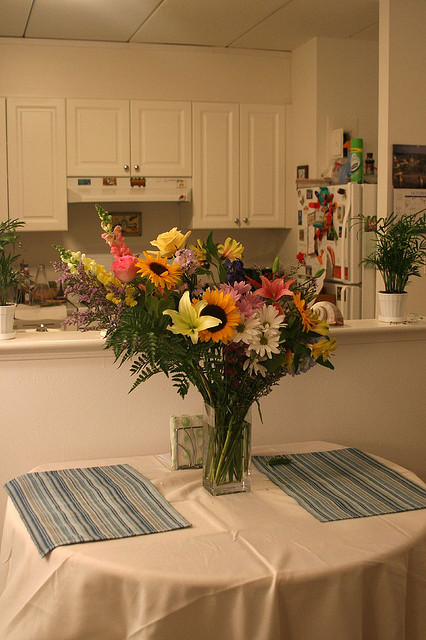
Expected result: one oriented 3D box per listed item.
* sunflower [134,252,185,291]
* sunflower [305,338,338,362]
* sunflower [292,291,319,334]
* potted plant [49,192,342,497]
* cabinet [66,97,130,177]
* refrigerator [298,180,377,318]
[{"bbox_3d":[-0.098,-0.091,0.924,0.102,0.061,0.071,-5,14,-28],"label":"sunflower"},{"bbox_3d":[0.221,0.062,1.056,0.053,0.040,0.058,-22,24,-11],"label":"sunflower"},{"bbox_3d":[0.166,-0.019,0.985,0.026,0.065,0.067,-30,52,0],"label":"sunflower"},{"bbox_3d":[-0.051,0.064,1.045,0.527,0.528,0.309,1,-2,-15],"label":"potted plant"},{"bbox_3d":[-0.838,-1.321,3.916,0.522,0.619,0.378,-1,-3,-7],"label":"cabinet"},{"bbox_3d":[0.888,-0.393,3.574,0.435,1.046,0.591,-12,18,-27],"label":"refrigerator"}]
